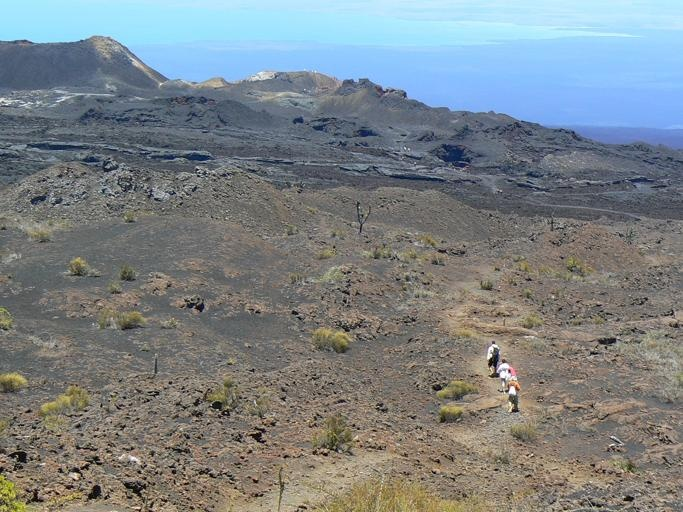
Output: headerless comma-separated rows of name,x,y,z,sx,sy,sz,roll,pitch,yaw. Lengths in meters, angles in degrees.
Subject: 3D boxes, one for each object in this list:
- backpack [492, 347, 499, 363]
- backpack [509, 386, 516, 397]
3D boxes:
backpack,7.077,4.479,36.775,0.220,0.763,0.476,14,26,29
backpack,7.092,5.556,33.402,0.311,0.474,0.332,4,21,9
